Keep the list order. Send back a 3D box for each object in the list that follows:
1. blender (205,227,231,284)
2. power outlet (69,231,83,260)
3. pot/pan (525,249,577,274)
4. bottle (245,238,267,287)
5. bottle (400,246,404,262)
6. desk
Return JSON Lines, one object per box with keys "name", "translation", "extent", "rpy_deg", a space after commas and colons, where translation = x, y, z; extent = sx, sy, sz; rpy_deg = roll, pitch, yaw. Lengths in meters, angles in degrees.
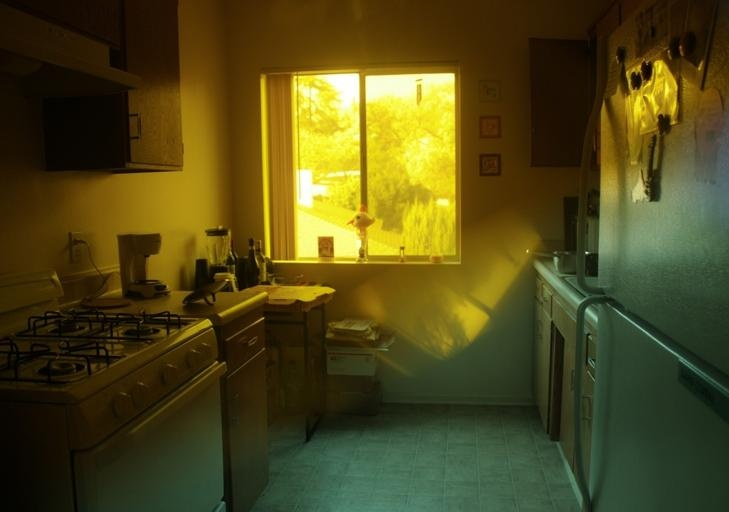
{"name": "blender", "translation": [-0.947, 0.022, 3.584], "extent": [0.168, 0.374, 0.187], "rpy_deg": [-6, -9, 29]}
{"name": "power outlet", "translation": [-1.335, -0.043, 2.566], "extent": [0.062, 0.129, 0.121], "rpy_deg": [1, 2, 0]}
{"name": "pot/pan", "translation": [1.080, 0.034, 3.234], "extent": [0.263, 0.108, 0.127], "rpy_deg": [0, 5, 4]}
{"name": "bottle", "translation": [-0.724, 0.031, 3.796], "extent": [0.103, 0.311, 0.252], "rpy_deg": [3, 8, 23]}
{"name": "bottle", "translation": [0.276, -0.012, 4.111], "extent": [0.032, 0.100, 0.066], "rpy_deg": [0, 8, 4]}
{"name": "desk", "translation": [-0.486, 0.662, 3.690], "extent": [0.758, 1.125, 0.830], "rpy_deg": [-1, 0, 6]}
